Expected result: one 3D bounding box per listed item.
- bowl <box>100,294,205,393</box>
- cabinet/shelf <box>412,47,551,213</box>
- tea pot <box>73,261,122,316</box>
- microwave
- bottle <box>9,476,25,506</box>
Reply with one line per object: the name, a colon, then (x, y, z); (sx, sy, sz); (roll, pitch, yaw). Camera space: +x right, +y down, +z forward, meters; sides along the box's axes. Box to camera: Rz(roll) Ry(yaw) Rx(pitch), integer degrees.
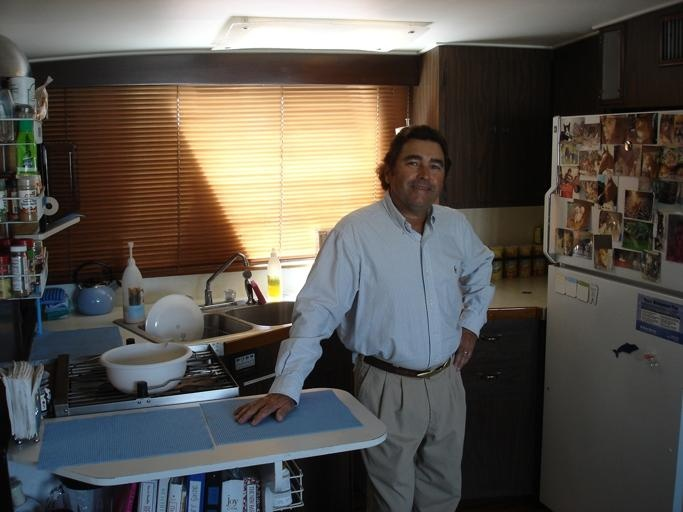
bowl: (-0.688, 0.397, 1.928); (0.247, 0.198, 0.408); (0, 19, 13)
cabinet/shelf: (0.901, -0.763, 3.315); (0.815, 0.946, 0.449); (-5, 4, -15)
tea pot: (-1.452, 0.183, 2.902); (0.269, 0.322, 0.200); (-1, 4, -25)
microwave: (-1.639, -0.411, 2.888); (0.240, 0.427, 0.251); (-8, -15, -19)
bottle: (-0.950, 0.691, 1.454); (0.031, 0.110, 0.026); (-5, 9, -29)
